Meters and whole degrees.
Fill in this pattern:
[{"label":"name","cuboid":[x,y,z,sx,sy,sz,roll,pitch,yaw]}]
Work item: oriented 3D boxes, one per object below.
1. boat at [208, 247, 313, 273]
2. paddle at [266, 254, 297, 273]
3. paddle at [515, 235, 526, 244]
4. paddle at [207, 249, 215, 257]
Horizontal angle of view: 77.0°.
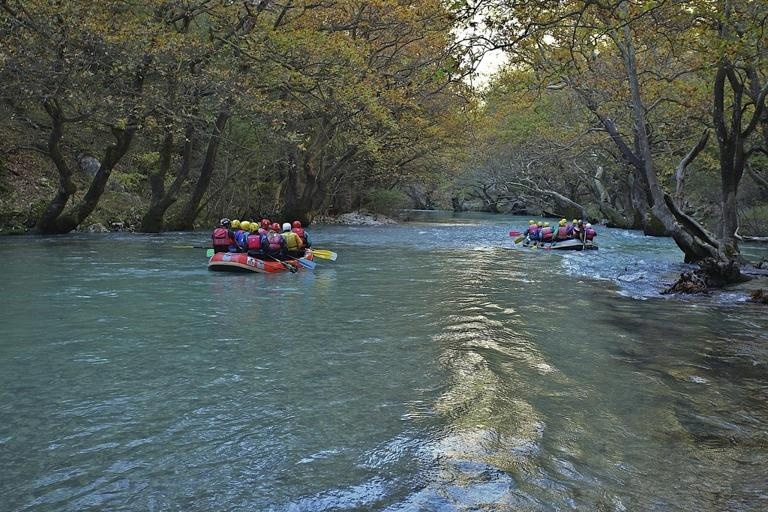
[{"label":"boat","cuboid":[-4.490,0.236,17.560,3.451,0.777,1.005,-3,12,-21]},{"label":"paddle","cuboid":[-3.831,0.299,17.746,1.410,0.163,0.144,24,-51,-21]},{"label":"paddle","cuboid":[8.540,-0.992,30.434,0.145,0.219,0.907,-15,-13,-15]},{"label":"paddle","cuboid":[-6.699,-0.106,18.673,0.331,0.257,0.323,-10,19,-6]}]
